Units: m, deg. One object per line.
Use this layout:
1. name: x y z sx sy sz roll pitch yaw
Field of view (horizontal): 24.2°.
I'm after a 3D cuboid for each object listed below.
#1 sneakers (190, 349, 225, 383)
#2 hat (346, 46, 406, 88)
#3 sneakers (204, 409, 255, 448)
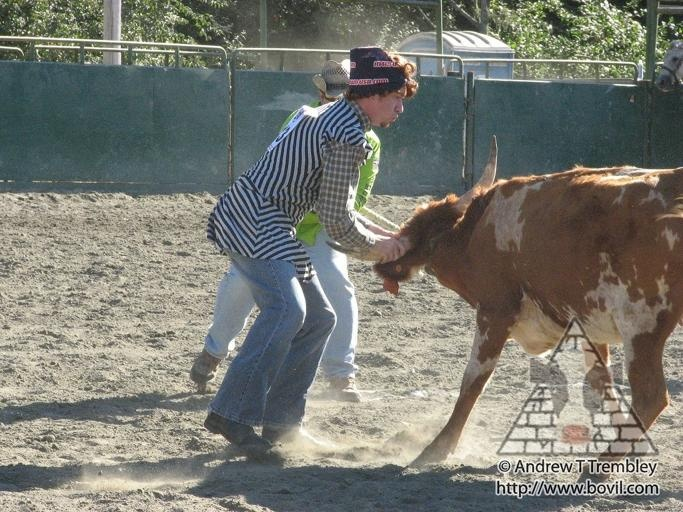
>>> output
1. sneakers: -1.348 1.145 15.810 0.210 0.279 0.409 46 -9 5
2. hat: 0.299 -1.719 14.652 0.433 0.341 0.340 1 8 13
3. sneakers: -1.012 1.642 14.947 0.574 0.261 0.219 25 31 -17
